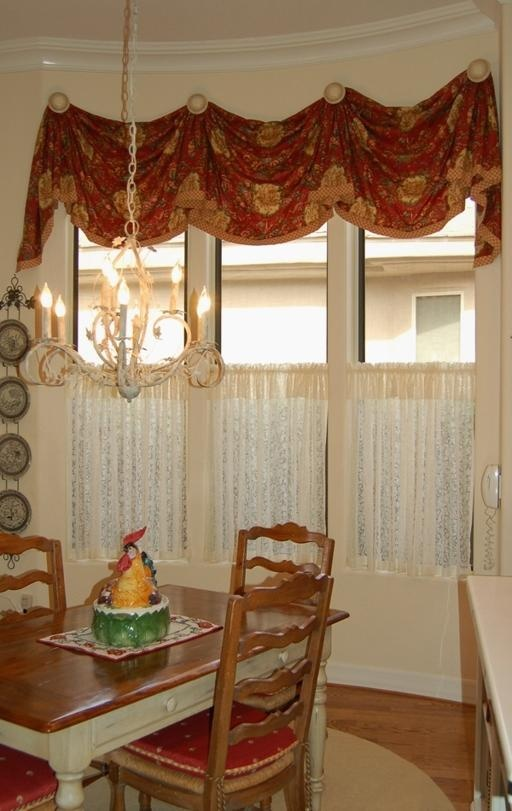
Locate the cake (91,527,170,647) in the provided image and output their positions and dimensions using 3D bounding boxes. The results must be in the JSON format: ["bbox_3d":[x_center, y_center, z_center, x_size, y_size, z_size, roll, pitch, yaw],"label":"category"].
[{"bbox_3d":[-0.327,0.470,1.808,0.188,0.274,0.187,2,0,-26],"label":"cake"}]
